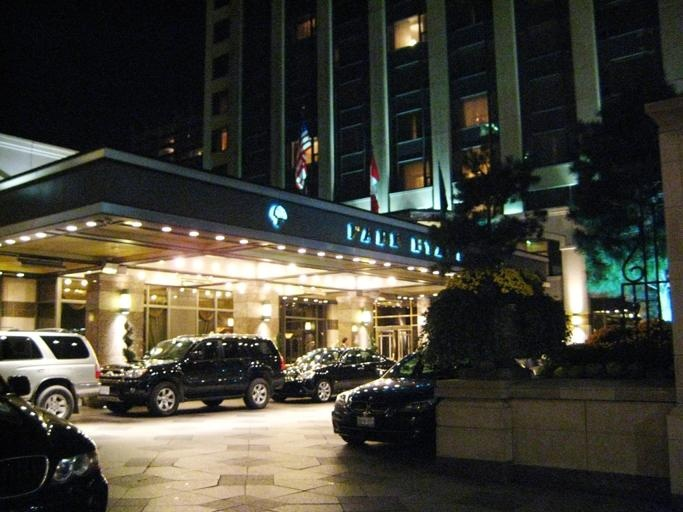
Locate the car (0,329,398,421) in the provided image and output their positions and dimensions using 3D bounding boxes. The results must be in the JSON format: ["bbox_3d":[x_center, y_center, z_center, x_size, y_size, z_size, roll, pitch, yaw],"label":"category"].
[{"bbox_3d":[-4.610,3.255,19.141,2.416,1.845,9.183,-9,-13,43],"label":"car"}]

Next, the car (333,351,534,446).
[{"bbox_3d":[1.003,2.829,13.149,4.569,1.478,1.917,10,-15,-42],"label":"car"}]
